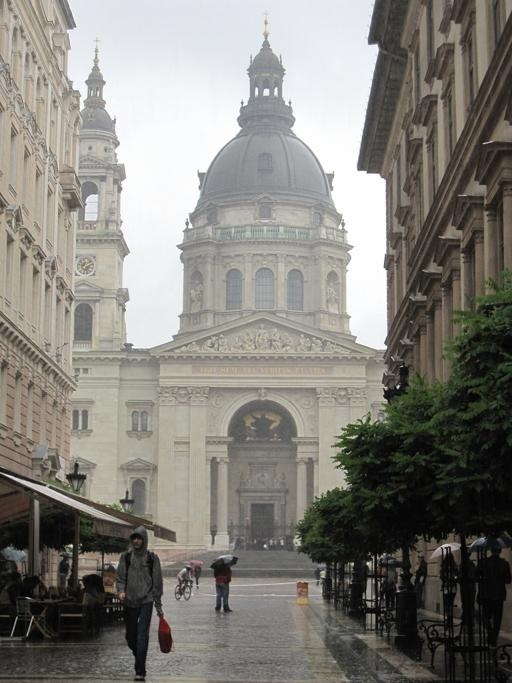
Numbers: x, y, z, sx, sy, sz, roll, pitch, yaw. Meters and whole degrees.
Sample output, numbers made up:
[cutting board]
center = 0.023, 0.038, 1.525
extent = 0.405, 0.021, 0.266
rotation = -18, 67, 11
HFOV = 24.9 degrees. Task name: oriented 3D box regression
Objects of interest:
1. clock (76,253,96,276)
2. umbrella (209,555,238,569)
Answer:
[clock]
center = -13.551, -5.934, 92.188
extent = 1.531, 1.340, 1.528
rotation = 2, -18, -7
[umbrella]
center = -0.821, 5.763, 30.415
extent = 0.489, 0.418, 1.210
rotation = -5, -18, 14
